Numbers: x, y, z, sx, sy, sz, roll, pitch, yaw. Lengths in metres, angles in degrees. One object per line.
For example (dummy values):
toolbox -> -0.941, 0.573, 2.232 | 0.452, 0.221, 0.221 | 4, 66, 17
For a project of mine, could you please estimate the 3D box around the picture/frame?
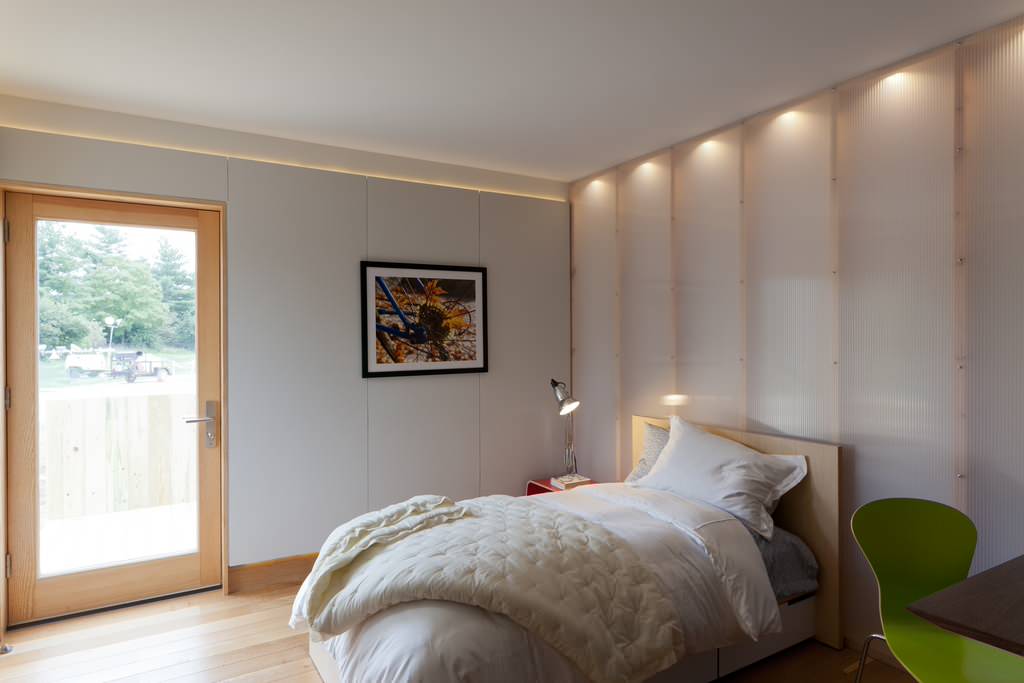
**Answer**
picture/frame -> -0.779, -0.186, 5.767 | 0.980, 0.836, 0.046 | -3, 4, -31
